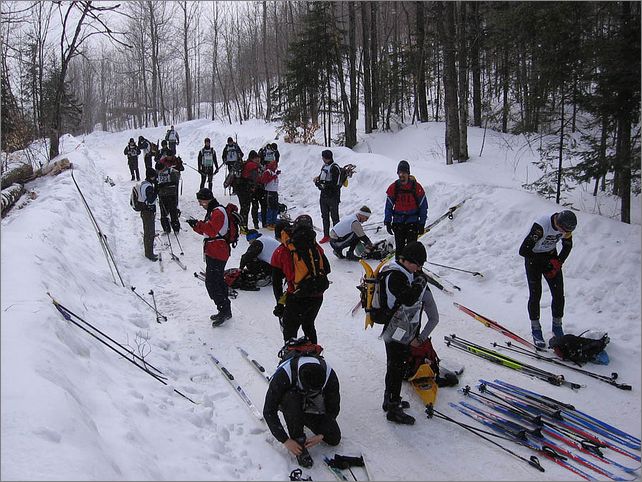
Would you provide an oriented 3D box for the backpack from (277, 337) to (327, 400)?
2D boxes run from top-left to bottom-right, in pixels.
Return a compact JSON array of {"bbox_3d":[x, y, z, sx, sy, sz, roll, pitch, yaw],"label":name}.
[{"bbox_3d":[-0.309,1.830,7.738,0.772,0.508,1.117,-2,17,-8],"label":"backpack"}]

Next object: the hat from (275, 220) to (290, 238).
[{"bbox_3d":[-0.670,-0.206,9.172,0.176,0.328,0.238,30,37,-12],"label":"hat"}]

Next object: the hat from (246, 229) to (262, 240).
[{"bbox_3d":[-1.440,-0.102,10.947,0.261,0.215,0.201,-9,11,11],"label":"hat"}]

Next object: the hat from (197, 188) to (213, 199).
[{"bbox_3d":[-2.296,-0.885,10.347,0.238,0.166,0.223,-20,28,-40],"label":"hat"}]

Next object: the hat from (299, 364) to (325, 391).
[{"bbox_3d":[-0.110,1.897,7.272,0.272,0.332,0.381,-2,-1,-5],"label":"hat"}]

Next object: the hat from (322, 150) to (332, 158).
[{"bbox_3d":[0.148,-2.257,13.635,0.181,0.209,0.233,-6,16,-26],"label":"hat"}]

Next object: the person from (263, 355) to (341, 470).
[{"bbox_3d":[-0.283,2.244,7.752,1.091,1.604,1.492,-3,19,-9],"label":"person"}]

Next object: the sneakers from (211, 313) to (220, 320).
[{"bbox_3d":[-2.036,1.474,10.274,0.250,0.118,0.090,1,17,3],"label":"sneakers"}]

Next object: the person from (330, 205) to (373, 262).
[{"bbox_3d":[0.775,-0.215,13.090,1.154,1.413,0.867,-3,17,-6],"label":"person"}]

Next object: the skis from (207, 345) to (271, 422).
[{"bbox_3d":[-1.343,2.356,8.549,0.153,0.169,1.623,-18,31,-29],"label":"skis"}]

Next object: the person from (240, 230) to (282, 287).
[{"bbox_3d":[-1.405,0.357,11.361,1.015,1.068,0.662,-4,11,-29],"label":"person"}]

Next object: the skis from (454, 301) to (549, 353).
[{"bbox_3d":[3.415,1.648,9.846,1.768,0.196,0.179,30,7,39],"label":"skis"}]

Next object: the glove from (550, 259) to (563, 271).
[{"bbox_3d":[4.191,0.421,9.332,0.206,0.187,0.100,-3,10,-10],"label":"glove"}]

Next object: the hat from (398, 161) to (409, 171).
[{"bbox_3d":[1.780,-1.602,11.257,0.190,0.240,0.270,2,4,8],"label":"hat"}]

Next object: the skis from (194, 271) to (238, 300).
[{"bbox_3d":[-2.118,0.919,10.780,0.945,0.260,0.145,30,-37,-21],"label":"skis"}]

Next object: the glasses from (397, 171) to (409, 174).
[{"bbox_3d":[1.770,-1.470,11.193,0.228,0.065,0.130,-1,10,6],"label":"glasses"}]

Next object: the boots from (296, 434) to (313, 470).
[{"bbox_3d":[-0.231,2.970,7.394,0.227,0.423,0.211,-5,11,-18],"label":"boots"}]

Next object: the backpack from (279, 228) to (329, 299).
[{"bbox_3d":[-0.205,0.350,8.450,0.640,1.126,0.305,-2,10,-1],"label":"backpack"}]

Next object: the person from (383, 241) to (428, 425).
[{"bbox_3d":[1.272,1.381,7.925,0.650,2.757,0.533,-3,10,-11],"label":"person"}]

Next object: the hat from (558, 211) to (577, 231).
[{"bbox_3d":[4.274,-0.402,9.117,0.255,0.310,0.373,4,44,0],"label":"hat"}]

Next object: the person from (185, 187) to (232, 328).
[{"bbox_3d":[-2.045,0.313,10.248,0.626,2.576,0.707,-10,13,-39],"label":"person"}]

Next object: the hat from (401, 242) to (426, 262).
[{"bbox_3d":[1.402,0.149,7.733,0.244,0.270,0.327,11,28,-34],"label":"hat"}]

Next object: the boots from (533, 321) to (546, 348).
[{"bbox_3d":[3.924,1.690,9.441,0.145,0.328,0.458,-5,47,5],"label":"boots"}]

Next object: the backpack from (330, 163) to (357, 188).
[{"bbox_3d":[0.559,-1.780,14.337,0.370,0.681,0.912,-16,12,32],"label":"backpack"}]

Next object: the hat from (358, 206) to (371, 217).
[{"bbox_3d":[1.082,-0.725,12.903,0.203,0.228,0.266,13,9,44],"label":"hat"}]

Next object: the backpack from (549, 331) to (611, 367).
[{"bbox_3d":[4.550,1.847,9.131,0.710,0.360,0.567,-8,11,0],"label":"backpack"}]
